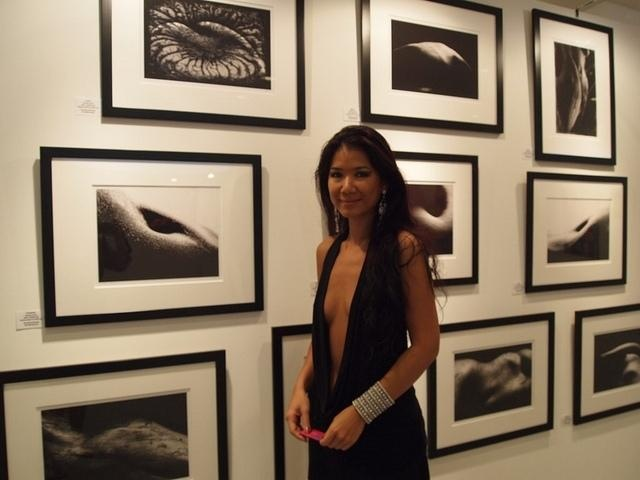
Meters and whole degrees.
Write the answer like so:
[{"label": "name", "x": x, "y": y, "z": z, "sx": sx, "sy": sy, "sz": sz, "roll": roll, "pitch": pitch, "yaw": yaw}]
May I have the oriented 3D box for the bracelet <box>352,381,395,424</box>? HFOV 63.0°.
[{"label": "bracelet", "x": 0.281, "y": 0.821, "z": 2.662, "sx": 0.213, "sy": 0.168, "sz": 0.058, "roll": -40, "pitch": -8, "yaw": 4}]
